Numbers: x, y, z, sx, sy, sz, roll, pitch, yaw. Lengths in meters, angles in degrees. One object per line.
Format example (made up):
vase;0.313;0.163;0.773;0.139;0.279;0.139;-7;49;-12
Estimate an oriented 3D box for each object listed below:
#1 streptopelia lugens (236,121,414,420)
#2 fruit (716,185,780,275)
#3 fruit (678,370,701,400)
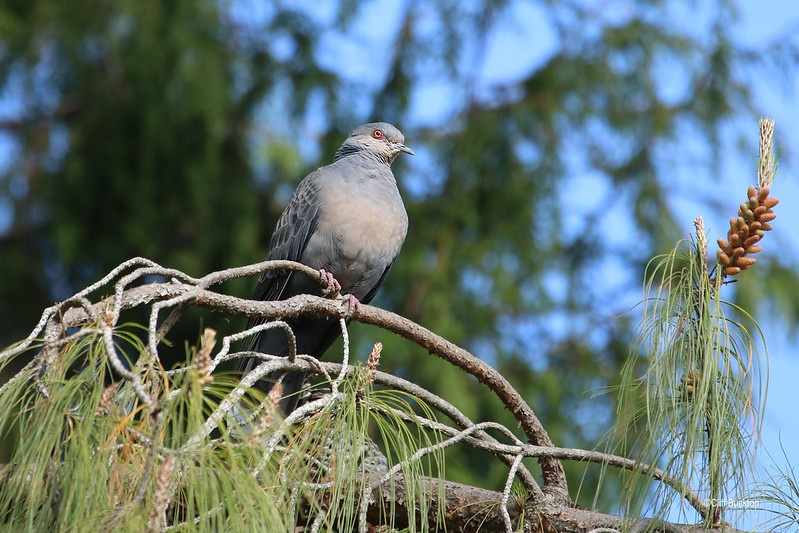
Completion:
streptopelia lugens;-0.571;-0.052;10.104;0.776;1.894;1.446;21;-26;-34
fruit;1.920;-0.198;7.779;0.252;0.487;0.304;14;-15;-18
fruit;1.608;0.651;7.787;0.104;0.155;0.064;2;-16;29
